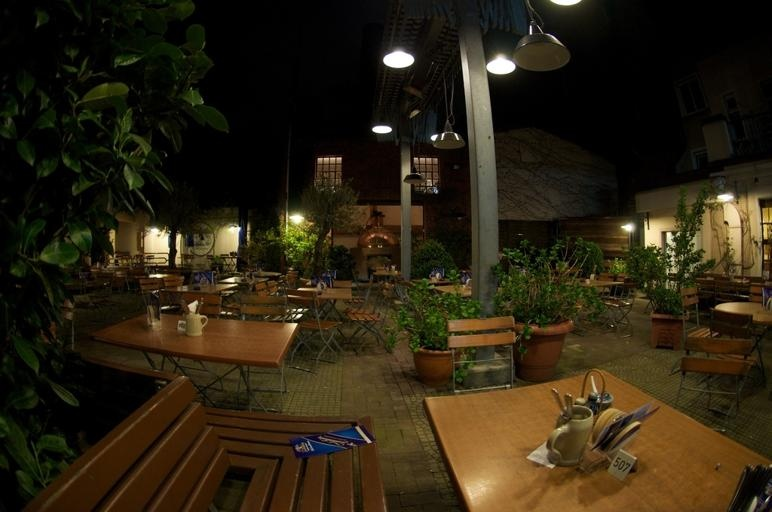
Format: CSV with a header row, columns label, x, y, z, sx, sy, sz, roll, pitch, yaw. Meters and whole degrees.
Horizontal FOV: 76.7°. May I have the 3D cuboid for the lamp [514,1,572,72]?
label,x,y,z,sx,sy,sz,roll,pitch,yaw
lamp,1.685,-2.272,5.295,0.518,0.449,0.419,-3,8,-27

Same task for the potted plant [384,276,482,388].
label,x,y,z,sx,sy,sz,roll,pitch,yaw
potted plant,0.528,1.001,6.736,1.441,1.619,1.220,2,-6,-16

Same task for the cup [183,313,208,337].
label,x,y,z,sx,sy,sz,roll,pitch,yaw
cup,-1.954,0.686,5.014,0.202,0.214,0.275,-3,8,-23

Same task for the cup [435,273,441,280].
label,x,y,z,sx,sy,sz,roll,pitch,yaw
cup,1.156,0.465,10.871,0.131,0.099,0.147,0,1,36

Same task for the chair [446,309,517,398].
label,x,y,z,sx,sy,sz,roll,pitch,yaw
chair,1.116,1.164,5.801,0.972,1.065,0.730,-1,4,0

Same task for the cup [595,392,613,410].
label,x,y,z,sx,sy,sz,roll,pitch,yaw
cup,1.532,1.006,3.450,0.110,0.125,0.112,-1,1,0
